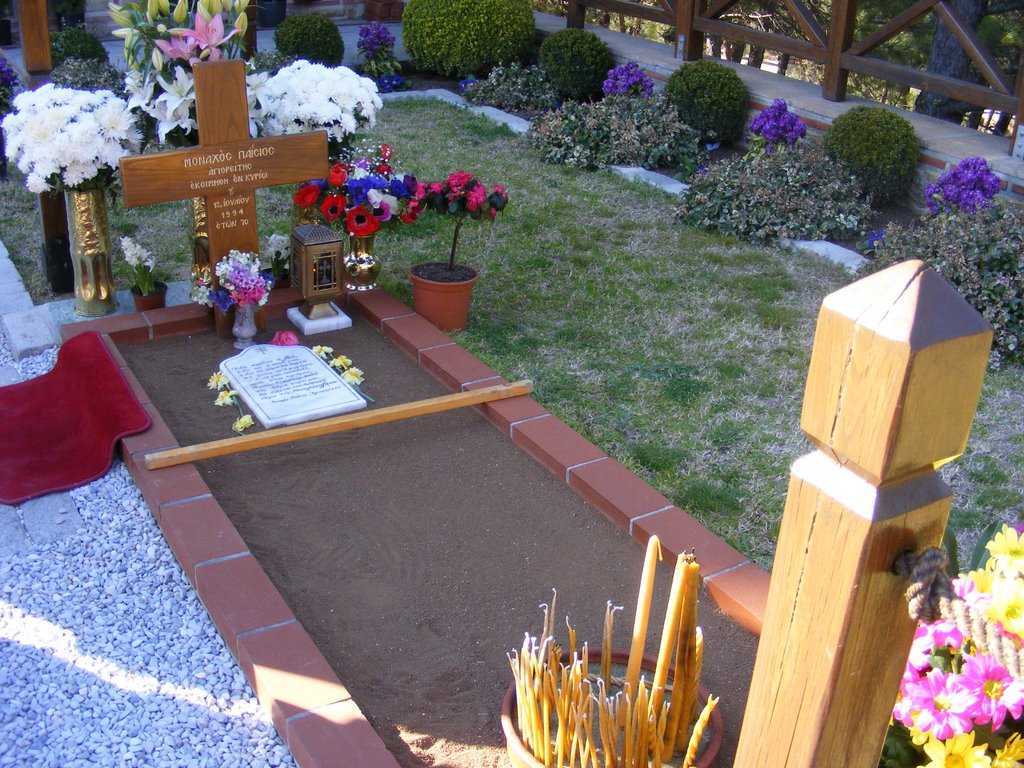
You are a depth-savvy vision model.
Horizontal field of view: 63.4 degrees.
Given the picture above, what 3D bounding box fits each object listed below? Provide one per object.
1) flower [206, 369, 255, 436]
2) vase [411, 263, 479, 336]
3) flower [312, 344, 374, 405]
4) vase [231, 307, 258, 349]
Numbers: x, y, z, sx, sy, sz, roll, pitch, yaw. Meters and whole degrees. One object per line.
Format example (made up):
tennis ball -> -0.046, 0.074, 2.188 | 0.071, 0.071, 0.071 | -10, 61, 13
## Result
flower -> -1.805, 0.109, 5.261 | 0.185, 0.199, 0.684 | -5, 42, -37
vase -> -0.560, -0.693, 6.348 | 0.491, 0.450, 0.546 | 16, 3, 1
flower -> -1.162, -0.127, 5.623 | 0.221, 0.237, 0.733 | -8, 28, -34
vase -> -1.885, -0.394, 5.797 | 0.163, 0.235, 0.175 | 8, 26, 13
